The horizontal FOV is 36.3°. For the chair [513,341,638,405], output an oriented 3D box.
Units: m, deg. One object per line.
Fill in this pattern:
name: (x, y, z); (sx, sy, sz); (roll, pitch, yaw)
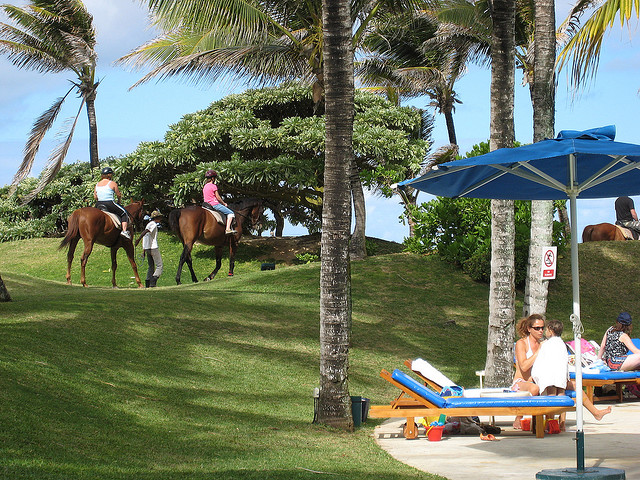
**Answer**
chair: (5.315, 2.756, 20.316); (2.631, 1.800, 2.152); (1, 1, 17)

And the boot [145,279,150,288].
boot: (-5.890, 1.453, 33.133); (0.196, 0.337, 0.263); (0, -1, -6)

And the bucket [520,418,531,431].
bucket: (4.093, 3.655, 19.486); (0.213, 0.202, 0.208); (1, -1, 0)

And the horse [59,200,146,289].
horse: (-7.092, -0.030, 32.175); (1.094, 3.206, 4.445); (-2, -2, 28)

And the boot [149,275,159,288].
boot: (-5.683, 1.359, 33.113); (0.393, 0.442, 0.297); (3, -23, -3)

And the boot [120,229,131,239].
boot: (-6.331, -0.245, 31.677); (0.132, 0.160, 0.358); (-1, -21, 32)

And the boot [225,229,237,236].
boot: (-3.285, -0.329, 35.106); (0.325, 0.201, 0.533); (2, -4, 11)
